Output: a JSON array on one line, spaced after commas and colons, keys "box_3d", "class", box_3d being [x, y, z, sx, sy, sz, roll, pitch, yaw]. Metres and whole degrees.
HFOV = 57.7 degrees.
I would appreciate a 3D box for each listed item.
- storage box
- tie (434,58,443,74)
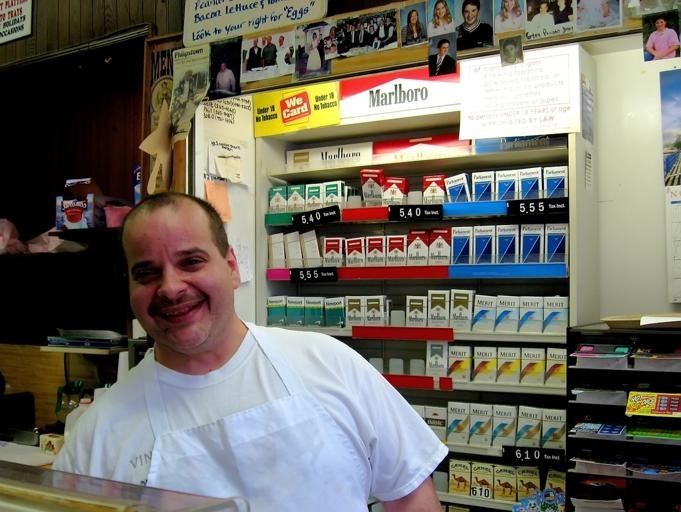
[{"box_3d": [-1.771, -0.333, 4.410, 0.434, 0.353, 0.439, -2, -7, 33], "class": "storage box"}, {"box_3d": [0.427, -0.823, 2.674, 0.033, 0.049, 0.006, 4, 8, 31], "class": "tie"}]
